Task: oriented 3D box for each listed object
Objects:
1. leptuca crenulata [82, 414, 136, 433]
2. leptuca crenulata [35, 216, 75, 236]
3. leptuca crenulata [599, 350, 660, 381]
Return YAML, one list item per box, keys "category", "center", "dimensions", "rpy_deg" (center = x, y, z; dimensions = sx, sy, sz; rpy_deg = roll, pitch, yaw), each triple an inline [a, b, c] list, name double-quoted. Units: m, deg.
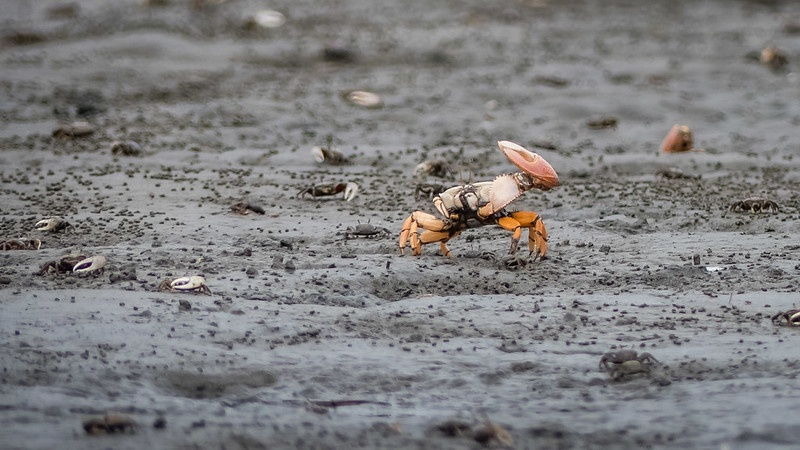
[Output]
- category: "leptuca crenulata"
  center: [-5.358, 3.649, 16.772]
  dimensions: [0.713, 0.414, 0.146]
  rpy_deg: [0, 98, -4]
- category: "leptuca crenulata"
  center: [-8.465, 0.017, 22.292]
  dimensions: [0.635, 0.576, 0.159]
  rpy_deg: [4, 100, -1]
- category: "leptuca crenulata"
  center: [4.378, 2.664, 17.699]
  dimensions: [1.115, 0.245, 0.566]
  rpy_deg: [-15, 62, -3]
